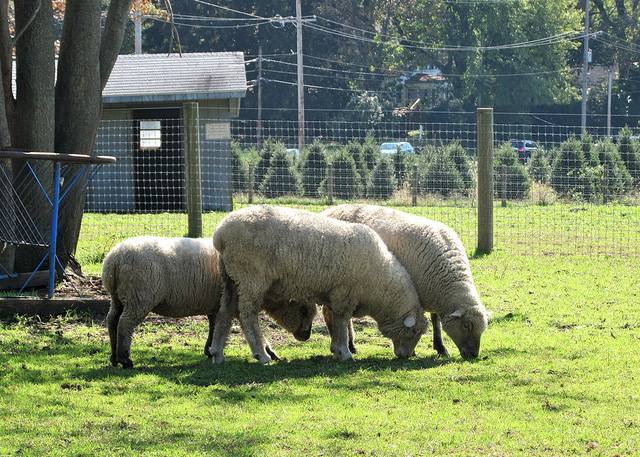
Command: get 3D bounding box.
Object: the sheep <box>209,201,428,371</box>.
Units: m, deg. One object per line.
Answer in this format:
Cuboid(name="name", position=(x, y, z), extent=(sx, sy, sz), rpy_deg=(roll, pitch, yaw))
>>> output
Cuboid(name="sheep", position=(0.083, 1.062, 18.531), extent=(3.634, 2.888, 1.655), rpy_deg=(4, 6, -5))
